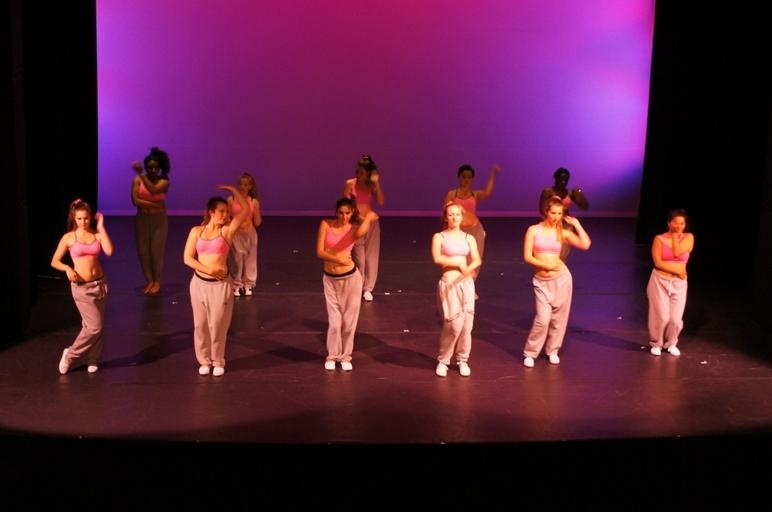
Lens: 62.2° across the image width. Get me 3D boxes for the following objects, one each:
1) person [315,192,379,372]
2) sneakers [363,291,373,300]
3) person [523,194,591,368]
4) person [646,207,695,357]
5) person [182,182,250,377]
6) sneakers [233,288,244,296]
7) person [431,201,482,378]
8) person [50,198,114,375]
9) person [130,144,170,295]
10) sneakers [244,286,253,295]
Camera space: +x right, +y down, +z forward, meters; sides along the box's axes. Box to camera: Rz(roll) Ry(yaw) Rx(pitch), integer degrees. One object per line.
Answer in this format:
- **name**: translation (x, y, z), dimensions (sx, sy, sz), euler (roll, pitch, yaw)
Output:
- **person**: translation (-0.467, 0.310, 6.960), dimensions (0.493, 1.863, 0.459), euler (-10, 17, -40)
- **sneakers**: translation (-0.252, 0.559, 8.914), dimensions (0.123, 0.104, 0.256), euler (0, 0, -6)
- **person**: translation (1.840, 0.285, 7.068), dimensions (0.653, 1.885, 0.386), euler (-4, 15, -24)
- **person**: translation (3.242, 0.319, 7.290), dimensions (0.432, 1.650, 0.359), euler (5, 14, 14)
- **person**: translation (-1.819, 0.334, 6.785), dimensions (0.560, 1.889, 0.404), euler (-2, 14, -17)
- **sneakers**: translation (-2.075, 0.524, 9.011), dimensions (0.120, 0.115, 0.074), euler (3, -2, -28)
- **person**: translation (0.737, 0.374, 6.896), dimensions (0.491, 1.824, 0.475), euler (6, 14, 17)
- **person**: translation (-3.242, 0.335, 6.824), dimensions (0.601, 1.818, 0.523), euler (-5, 15, -27)
- **person**: translation (-3.296, -0.506, 9.050), dimensions (0.501, 2.002, 0.841), euler (-4, 14, -21)
- **sneakers**: translation (-1.945, 0.503, 9.071), dimensions (0.086, 0.115, 0.044), euler (1, -6, -11)
